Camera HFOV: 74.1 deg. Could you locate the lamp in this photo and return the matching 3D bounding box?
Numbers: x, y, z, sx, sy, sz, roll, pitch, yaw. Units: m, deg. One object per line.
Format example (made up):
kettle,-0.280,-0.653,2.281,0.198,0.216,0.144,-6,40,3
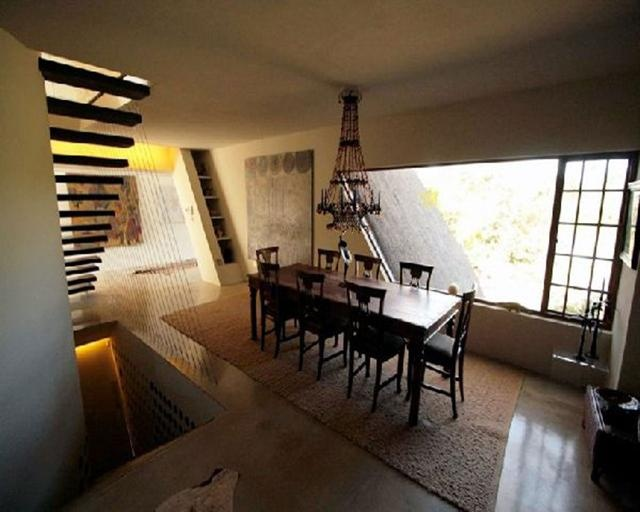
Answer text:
lamp,0.308,-0.949,5.000,0.705,1.773,2.289,-1,13,5
